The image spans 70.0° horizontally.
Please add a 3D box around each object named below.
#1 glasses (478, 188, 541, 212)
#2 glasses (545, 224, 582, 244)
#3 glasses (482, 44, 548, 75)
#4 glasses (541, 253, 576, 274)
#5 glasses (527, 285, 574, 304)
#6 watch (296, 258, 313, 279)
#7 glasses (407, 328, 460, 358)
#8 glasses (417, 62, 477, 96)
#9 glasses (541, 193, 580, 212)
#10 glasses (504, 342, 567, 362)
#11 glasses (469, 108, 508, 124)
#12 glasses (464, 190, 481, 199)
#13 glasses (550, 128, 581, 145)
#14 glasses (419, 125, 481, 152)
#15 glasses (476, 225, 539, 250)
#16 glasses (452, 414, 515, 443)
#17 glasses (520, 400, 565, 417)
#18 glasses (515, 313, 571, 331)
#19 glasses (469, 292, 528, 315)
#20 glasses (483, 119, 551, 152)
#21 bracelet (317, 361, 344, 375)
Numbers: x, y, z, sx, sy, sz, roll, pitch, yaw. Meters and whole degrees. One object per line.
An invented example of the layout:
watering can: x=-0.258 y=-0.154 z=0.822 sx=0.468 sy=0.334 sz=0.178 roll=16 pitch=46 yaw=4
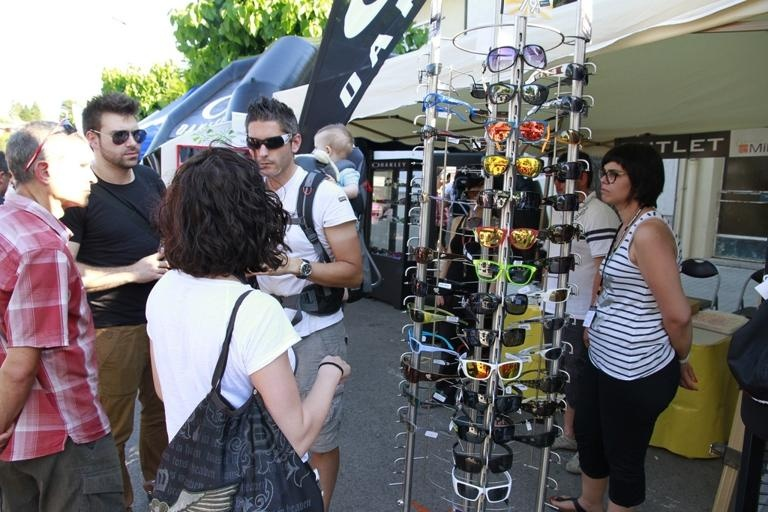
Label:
glasses: x=0.666 y=-0.284 z=2.851 sx=0.344 sy=0.100 sz=0.210 roll=-5 pitch=11 yaw=-24
glasses: x=0.929 y=-0.110 z=2.903 sx=0.126 sy=0.052 sz=0.124 roll=-2 pitch=8 yaw=-4
glasses: x=0.660 y=-0.983 z=2.748 sx=0.184 sy=0.064 sz=0.179 roll=-2 pitch=3 yaw=-8
glasses: x=0.939 y=0.051 z=2.910 sx=0.252 sy=0.105 sz=0.084 roll=-6 pitch=12 yaw=-31
glasses: x=0.869 y=0.211 z=2.931 sx=0.234 sy=0.093 sz=0.203 roll=3 pitch=10 yaw=19
watch: x=-0.445 y=0.083 z=3.079 sx=0.074 sy=0.104 sz=0.105 roll=11 pitch=-8 yaw=-34
glasses: x=0.282 y=0.466 z=3.142 sx=0.230 sy=0.065 sz=0.225 roll=20 pitch=-9 yaw=-4
glasses: x=0.339 y=-0.880 z=2.975 sx=0.241 sy=0.241 sz=0.077 roll=21 pitch=-12 yaw=16
glasses: x=0.933 y=-0.282 z=2.871 sx=0.109 sy=0.061 sz=0.143 roll=2 pitch=12 yaw=9
glasses: x=0.820 y=0.518 z=2.953 sx=0.175 sy=0.051 sz=0.193 roll=0 pitch=-4 yaw=-42
glasses: x=0.559 y=-0.734 z=2.950 sx=0.160 sy=0.048 sz=0.158 roll=-12 pitch=18 yaw=-41
glasses: x=0.470 y=-0.322 z=2.946 sx=0.048 sy=0.062 sz=0.064 roll=-16 pitch=-10 yaw=25
glasses: x=0.943 y=-0.602 z=2.837 sx=0.112 sy=0.042 sz=0.095 roll=0 pitch=5 yaw=-34
glasses: x=0.363 y=-0.635 z=3.013 sx=0.230 sy=0.064 sz=0.221 roll=13 pitch=1 yaw=-27
glasses: x=0.642 y=-0.090 z=2.853 sx=0.340 sy=0.121 sz=0.120 roll=-2 pitch=10 yaw=-13
glasses: x=0.531 y=0.918 z=2.964 sx=0.326 sy=0.150 sz=0.211 roll=1 pitch=10 yaw=7
glasses: x=0.846 y=0.815 z=2.965 sx=0.137 sy=0.044 sz=0.134 roll=0 pitch=-2 yaw=-16
glasses: x=0.822 y=0.353 z=2.958 sx=0.231 sy=0.064 sz=0.224 roll=-1 pitch=1 yaw=-35
glasses: x=0.597 y=0.254 z=2.858 sx=0.322 sy=0.129 sz=0.076 roll=-3 pitch=11 yaw=-16
glasses: x=0.677 y=-0.612 z=2.813 sx=0.316 sy=0.141 sz=0.093 roll=1 pitch=11 yaw=9
bracelet: x=-0.223 y=0.502 z=2.465 sx=0.078 sy=0.035 sz=0.074 roll=2 pitch=3 yaw=-8
